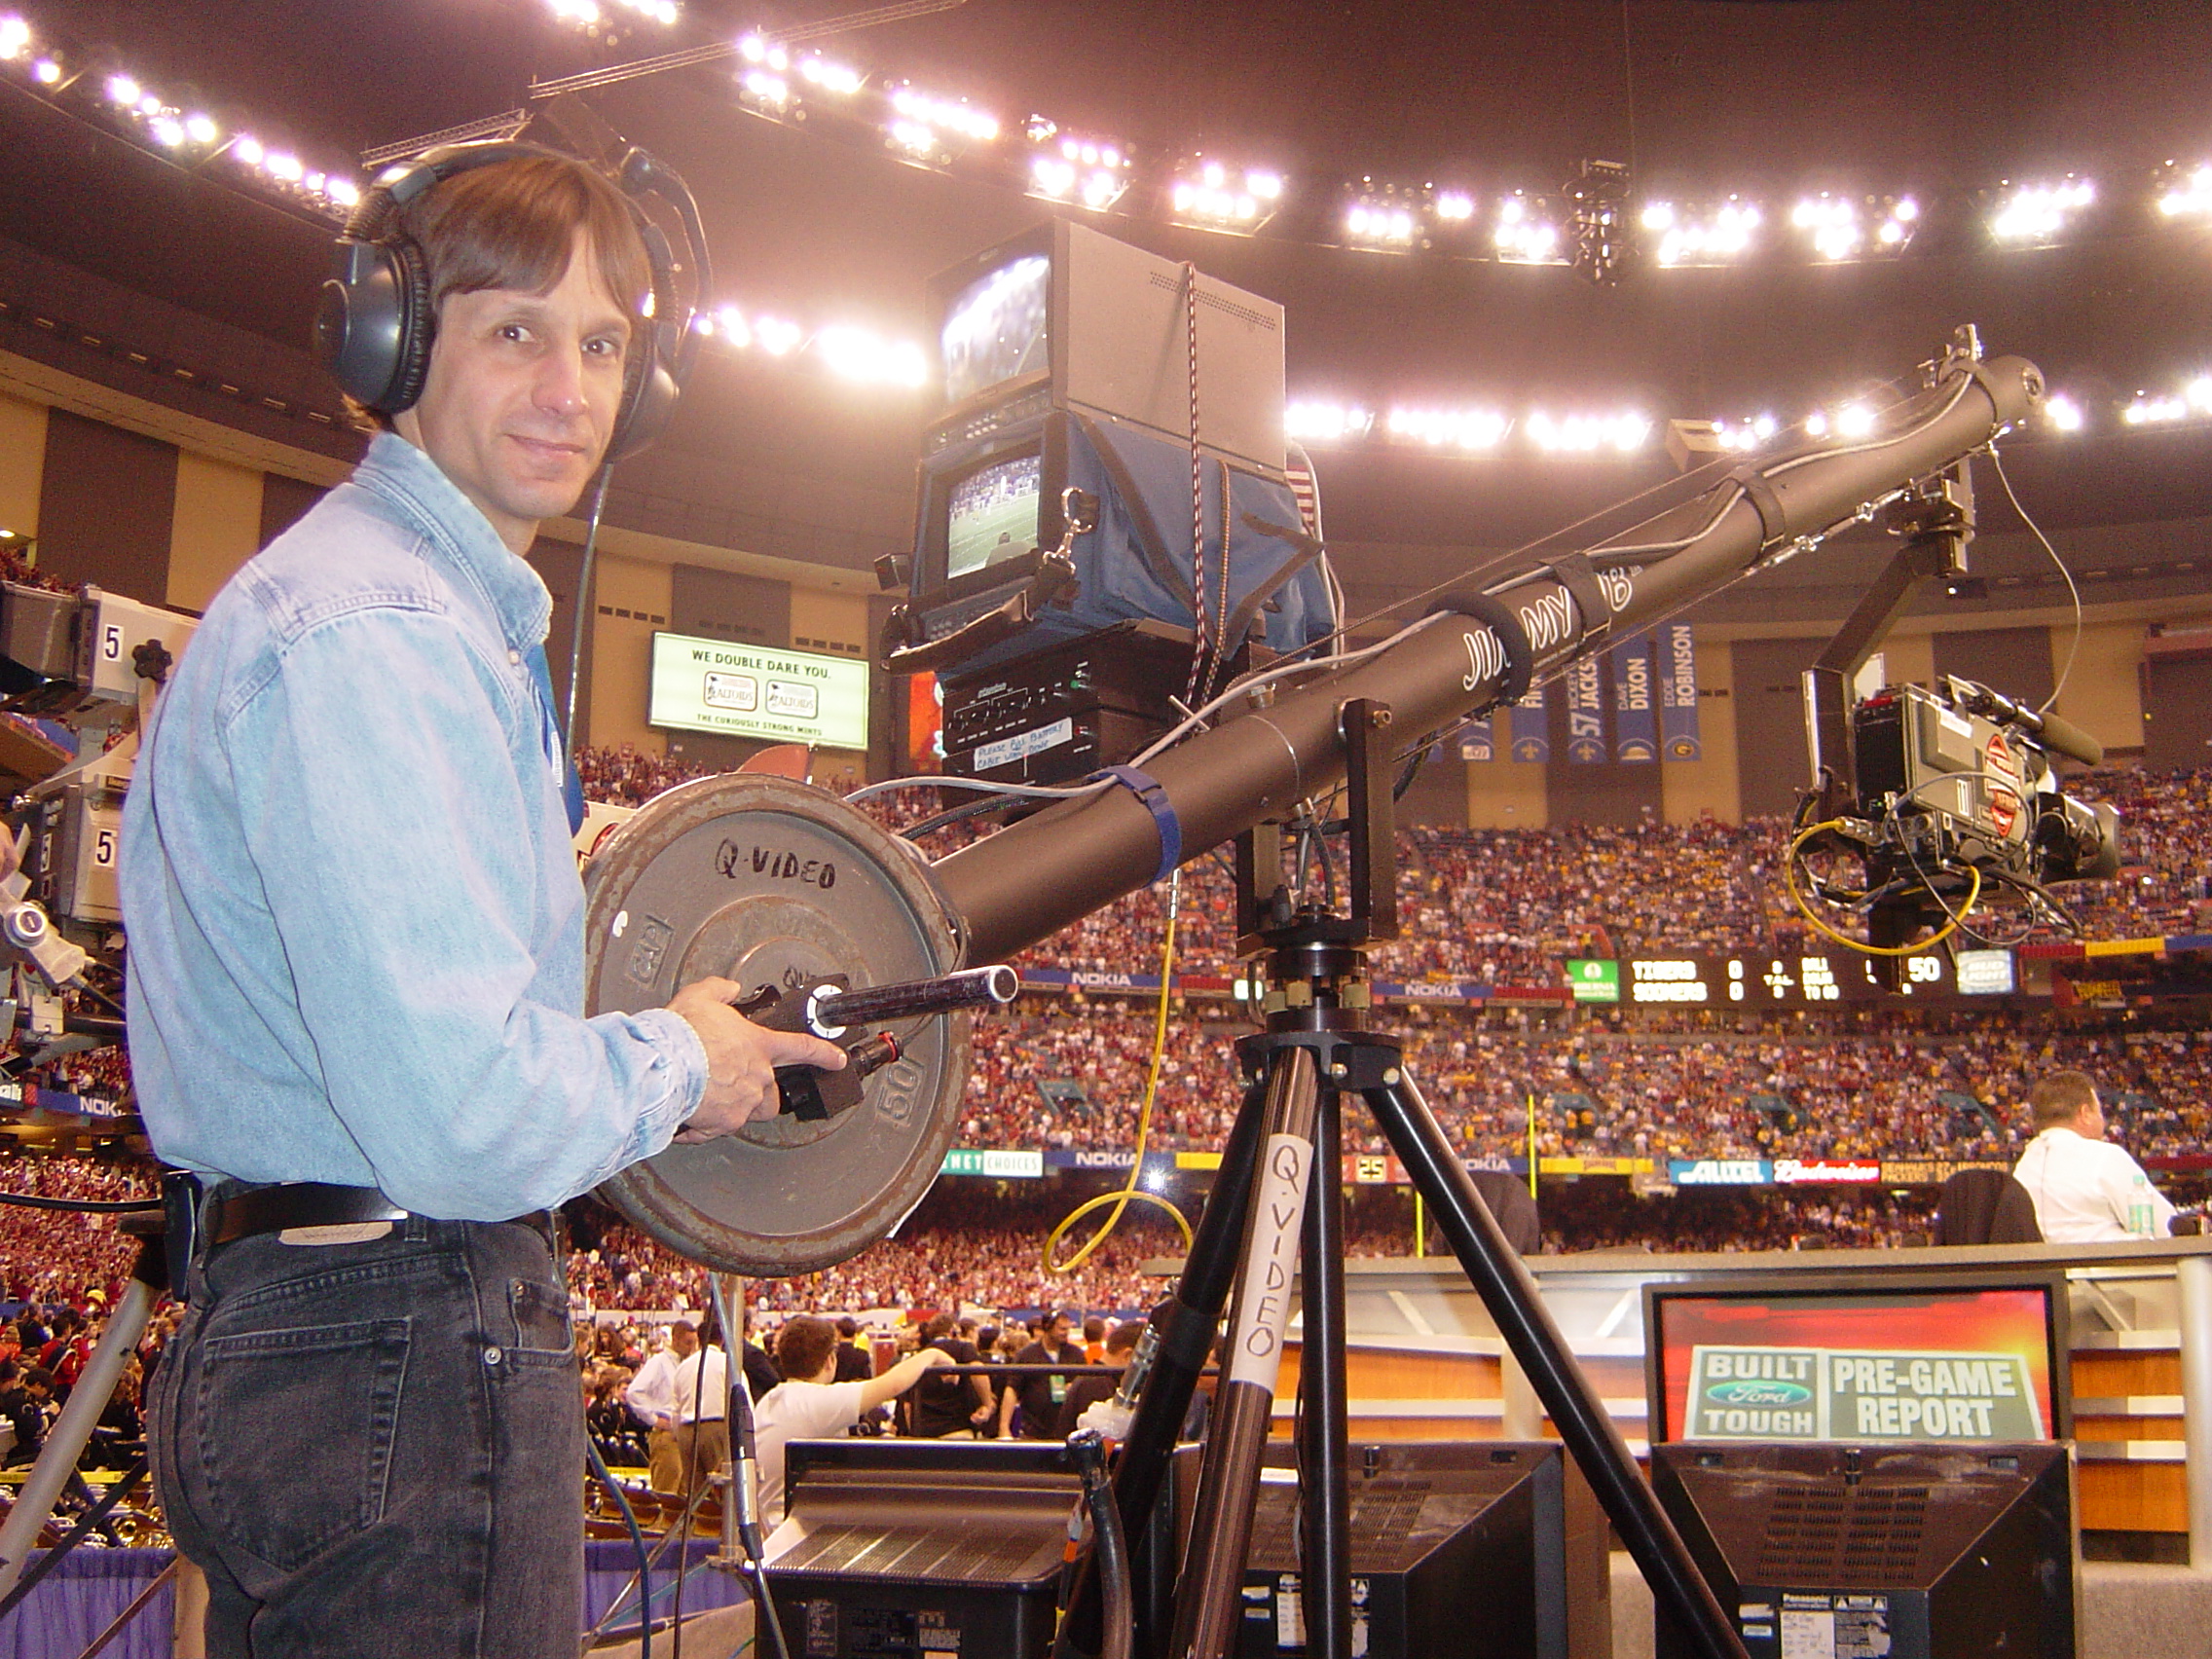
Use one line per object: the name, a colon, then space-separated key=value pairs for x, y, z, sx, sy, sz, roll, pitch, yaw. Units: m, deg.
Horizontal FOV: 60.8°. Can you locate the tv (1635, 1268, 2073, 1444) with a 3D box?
tv: x=2.324 y=1.739 z=5.863 sx=1.221 sy=0.765 sz=0.063 roll=-3 pitch=6 yaw=14
